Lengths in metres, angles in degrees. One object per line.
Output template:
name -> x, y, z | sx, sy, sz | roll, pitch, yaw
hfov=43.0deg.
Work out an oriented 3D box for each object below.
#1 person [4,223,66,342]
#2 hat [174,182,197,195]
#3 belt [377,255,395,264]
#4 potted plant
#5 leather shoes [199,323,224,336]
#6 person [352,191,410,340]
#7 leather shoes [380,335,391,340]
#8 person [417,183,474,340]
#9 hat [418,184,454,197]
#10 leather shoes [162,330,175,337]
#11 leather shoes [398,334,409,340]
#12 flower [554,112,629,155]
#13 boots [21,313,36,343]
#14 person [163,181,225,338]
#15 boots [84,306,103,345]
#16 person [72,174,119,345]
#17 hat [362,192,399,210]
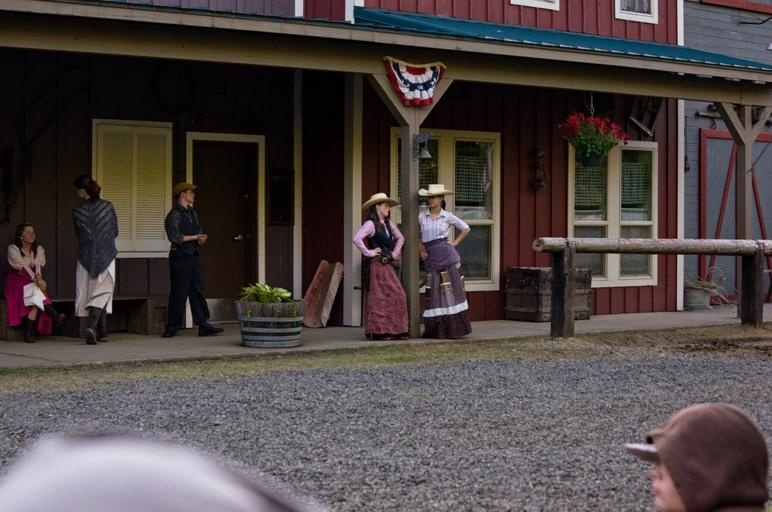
person -> -4.647, 0.331, 12.836 | 0.637, 1.515, 0.905 | -2, 6, -23
hat -> -2.720, -0.914, 13.315 | 0.256, 0.140, 0.191 | -23, 3, -10
belt -> 0.012, 0.039, 12.892 | 0.248, 0.119, 0.078 | -4, 7, -37
potted plant -> -1.436, 0.693, 12.186 | 0.728, 0.719, 0.760 | 1, -4, -17
leather shoes -> -2.380, 0.982, 13.365 | 0.411, 0.184, 0.146 | -4, 6, -43
person -> -0.045, 0.127, 12.995 | 0.713, 1.870, 0.571 | 1, 5, 0
leather shoes -> 0.007, 1.030, 12.900 | 0.142, 0.079, 0.048 | -3, 7, -33
person -> 0.798, 0.049, 13.310 | 0.705, 2.042, 0.467 | 1, 5, 1
hat -> 0.605, -0.883, 13.088 | 0.235, 0.106, 0.344 | 0, 0, 34
leather shoes -> -2.877, 1.003, 13.067 | 0.169, 0.094, 0.195 | -1, 6, -11
leather shoes -> 0.232, 1.044, 13.016 | 0.150, 0.107, 0.052 | 9, -8, -37
flower -> 3.150, -1.927, 15.381 | 0.753, 0.565, 0.802 | 4, -2, 39
boots -> -4.626, 0.901, 12.741 | 0.151, 0.335, 0.394 | -2, 6, -21
person -> -2.658, 0.082, 13.152 | 0.648, 1.934, 0.417 | -1, 6, -14
boots -> -3.709, 0.844, 12.439 | 0.214, 0.476, 0.562 | -1, 6, -17
person -> -3.700, 0.024, 12.437 | 0.522, 2.067, 0.712 | 0, 6, -10
hat -> -0.037, -0.756, 13.220 | 0.260, 0.121, 0.313 | -5, -8, 37
